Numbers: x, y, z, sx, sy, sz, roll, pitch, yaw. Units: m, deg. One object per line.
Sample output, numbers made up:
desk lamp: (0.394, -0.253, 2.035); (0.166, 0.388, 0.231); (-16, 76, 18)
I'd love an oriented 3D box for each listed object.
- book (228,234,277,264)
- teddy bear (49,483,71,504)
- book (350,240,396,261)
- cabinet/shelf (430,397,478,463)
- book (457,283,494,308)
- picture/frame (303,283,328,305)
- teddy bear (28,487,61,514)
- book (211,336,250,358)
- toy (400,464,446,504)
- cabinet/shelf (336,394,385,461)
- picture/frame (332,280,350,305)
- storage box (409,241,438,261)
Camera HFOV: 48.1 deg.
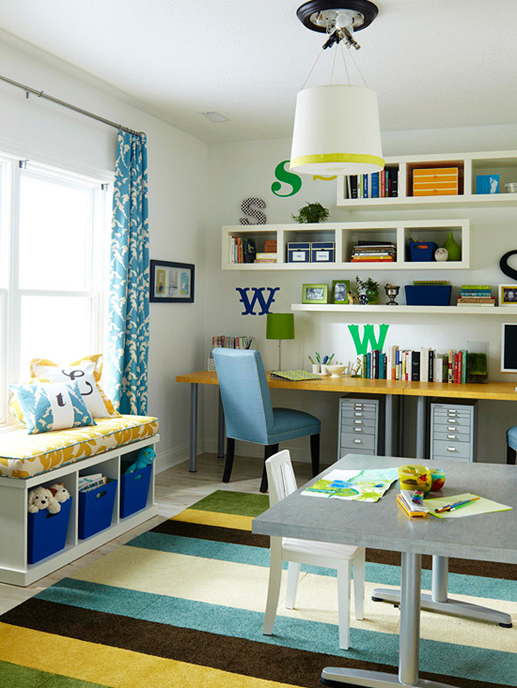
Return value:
book: (-0.054, -0.761, 4.741); (0.341, 0.294, 0.079); (-3, -2, -26)
teddy bear: (-0.918, 0.690, 2.690); (0.062, 0.051, 0.095); (-2, 16, -45)
book: (0.860, -0.700, 4.398); (0.377, 0.204, 0.242); (1, 0, 19)
cabinet/shelf: (1.272, 0.577, 3.827); (0.291, 0.365, 0.171); (1, -1, 18)
book: (1.560, -0.343, 4.161); (0.197, 0.116, 0.200); (0, 5, 19)
picture/frame: (0.457, -0.399, 4.630); (0.184, 0.130, 0.012); (1, -5, 20)
teddy bear: (-0.943, 0.696, 2.564); (0.057, 0.108, 0.149); (-23, -11, 8)
book: (-0.202, 0.024, 4.400); (0.173, 0.149, 0.061); (2, 6, 21)
toy: (0.472, 0.410, 1.684); (0.086, 0.062, 0.105); (0, -1, 10)
cabinet/shelf: (0.722, 0.585, 4.093); (0.321, 0.431, 0.209); (1, -1, 11)
picture/frame: (0.659, -0.410, 4.596); (0.202, 0.258, 0.029); (-2, -9, 36)
storage box: (1.195, -0.677, 4.250); (0.212, 0.158, 0.152); (1, 0, 13)
